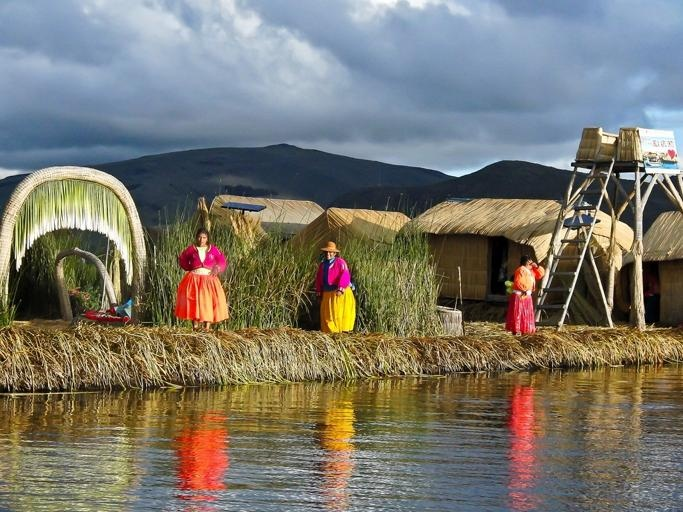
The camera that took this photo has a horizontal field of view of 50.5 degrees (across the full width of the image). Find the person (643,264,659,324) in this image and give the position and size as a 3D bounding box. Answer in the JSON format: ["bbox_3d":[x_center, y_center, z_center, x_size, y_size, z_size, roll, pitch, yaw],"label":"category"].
[{"bbox_3d":[6.664,0.767,15.572,0.300,1.261,0.713,0,1,22],"label":"person"}]

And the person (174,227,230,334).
[{"bbox_3d":[-1.762,0.256,9.071,0.637,1.190,0.400,0,1,-8],"label":"person"}]

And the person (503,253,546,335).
[{"bbox_3d":[3.008,0.646,11.946,0.591,1.302,1.324,0,0,16],"label":"person"}]

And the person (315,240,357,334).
[{"bbox_3d":[-0.092,0.452,10.516,0.556,1.303,0.821,0,1,-3],"label":"person"}]
